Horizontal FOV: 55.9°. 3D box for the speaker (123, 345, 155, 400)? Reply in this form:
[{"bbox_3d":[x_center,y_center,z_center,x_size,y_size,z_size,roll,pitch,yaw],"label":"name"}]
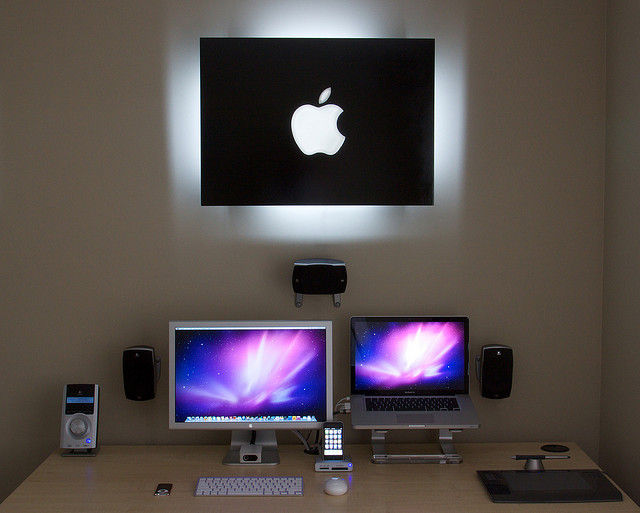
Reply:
[{"bbox_3d":[-0.843,0.545,2.804,0.146,0.051,0.242,3,-77,-4],"label":"speaker"}]

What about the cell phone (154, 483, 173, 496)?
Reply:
[{"bbox_3d":[-0.648,0.971,2.499,0.063,0.098,0.009,0,-79,-2],"label":"cell phone"}]

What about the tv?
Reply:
[{"bbox_3d":[-0.304,0.592,2.685,0.494,0.160,0.509,0,-93,0],"label":"tv"}]

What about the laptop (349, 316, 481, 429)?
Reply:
[{"bbox_3d":[0.409,0.517,2.771,0.607,0.438,0.536,0,-85,-1],"label":"laptop"}]
